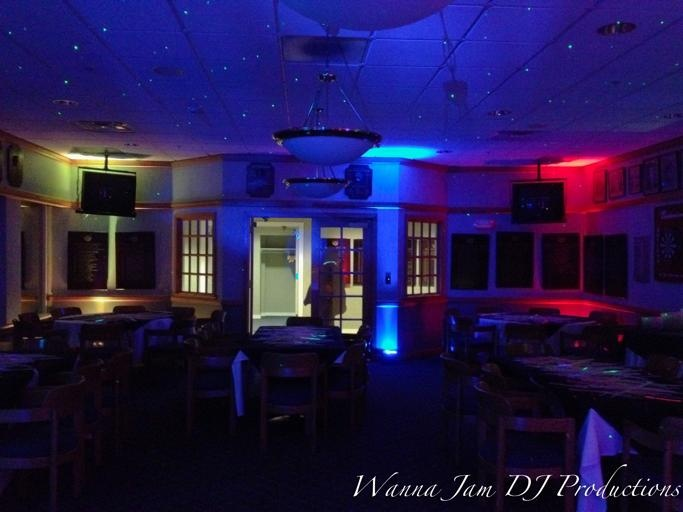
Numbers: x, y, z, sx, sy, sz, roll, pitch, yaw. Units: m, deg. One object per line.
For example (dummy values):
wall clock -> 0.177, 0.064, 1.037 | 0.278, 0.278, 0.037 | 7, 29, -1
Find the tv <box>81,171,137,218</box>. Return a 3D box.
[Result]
tv -> -4.027, -1.067, 10.160 | 0.802, 0.654, 0.400 | 2, 6, -26

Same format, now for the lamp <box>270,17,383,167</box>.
lamp -> -0.124, -1.443, 5.604 | 1.003, 1.076, 1.009 | 0, 5, 8

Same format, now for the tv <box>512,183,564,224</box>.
tv -> 3.607, -0.958, 10.760 | 0.783, 0.605, 0.105 | 0, -3, 13
